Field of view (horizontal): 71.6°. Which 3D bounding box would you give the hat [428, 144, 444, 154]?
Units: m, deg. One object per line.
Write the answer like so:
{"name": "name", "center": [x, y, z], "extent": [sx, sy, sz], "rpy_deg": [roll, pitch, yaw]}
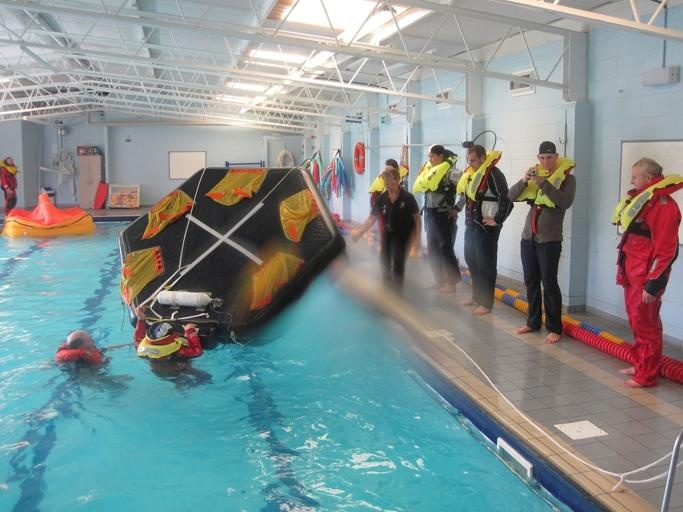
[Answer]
{"name": "hat", "center": [1.437, -1.654, 7.220], "extent": [0.214, 0.192, 0.155], "rpy_deg": [-4, -3, 27]}

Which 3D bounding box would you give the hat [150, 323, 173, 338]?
{"name": "hat", "center": [-1.899, 0.767, 4.986], "extent": [0.211, 0.135, 0.126], "rpy_deg": [-2, 11, -15]}

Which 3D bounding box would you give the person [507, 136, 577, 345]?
{"name": "person", "center": [2.486, -0.101, 5.899], "extent": [0.705, 2.271, 0.480], "rpy_deg": [6, 12, 24]}

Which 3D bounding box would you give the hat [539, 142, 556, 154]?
{"name": "hat", "center": [2.458, -1.267, 5.638], "extent": [0.175, 0.128, 0.174], "rpy_deg": [-3, 27, 5]}

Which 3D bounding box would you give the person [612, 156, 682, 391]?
{"name": "person", "center": [3.018, 0.181, 4.692], "extent": [0.405, 2.245, 0.568], "rpy_deg": [1, 11, -2]}

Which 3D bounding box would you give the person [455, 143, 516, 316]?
{"name": "person", "center": [2.024, -0.353, 6.763], "extent": [0.622, 2.390, 0.972], "rpy_deg": [2, 11, 4]}

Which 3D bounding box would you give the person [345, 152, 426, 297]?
{"name": "person", "center": [0.781, -0.281, 7.017], "extent": [0.752, 1.963, 0.666], "rpy_deg": [-3, 34, 1]}
